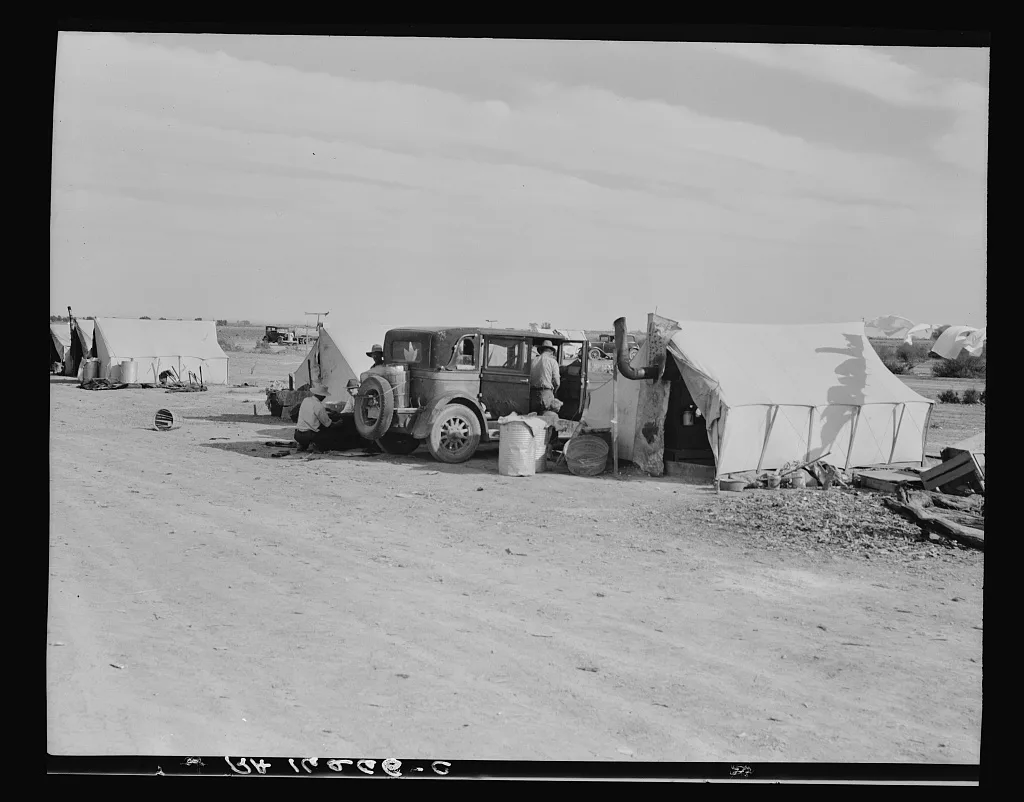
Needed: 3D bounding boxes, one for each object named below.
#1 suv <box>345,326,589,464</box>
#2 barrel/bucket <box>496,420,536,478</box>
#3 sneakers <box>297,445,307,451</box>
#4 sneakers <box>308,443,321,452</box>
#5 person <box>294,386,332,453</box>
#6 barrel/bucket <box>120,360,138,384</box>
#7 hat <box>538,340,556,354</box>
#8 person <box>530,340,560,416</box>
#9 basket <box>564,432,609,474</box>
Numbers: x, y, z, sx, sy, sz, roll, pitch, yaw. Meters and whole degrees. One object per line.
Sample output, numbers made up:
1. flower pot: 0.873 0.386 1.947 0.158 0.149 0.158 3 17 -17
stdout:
1. suv: -0.668 -0.093 15.629 3.129 1.938 0.832 -6 14 -12
2. barrel/bucket: -0.070 0.637 14.811 0.558 0.748 0.620 1 -3 -21
3. sneakers: -3.166 0.685 16.604 0.112 0.088 0.066 2 6 14
4. sneakers: -2.960 0.695 16.488 0.078 0.120 0.108 3 1 0
5. person: -2.942 0.199 16.627 0.545 0.887 0.519 13 11 21
6. barrel/bucket: -10.162 -0.780 29.085 0.223 0.638 0.435 6 16 32
7. hat: 0.494 -0.791 15.900 0.148 0.090 0.206 14 -15 -43
8. person: 0.450 -0.312 15.699 0.427 0.896 0.689 -2 14 2
9. basket: 1.006 0.735 14.822 0.529 0.472 0.538 10 19 41
